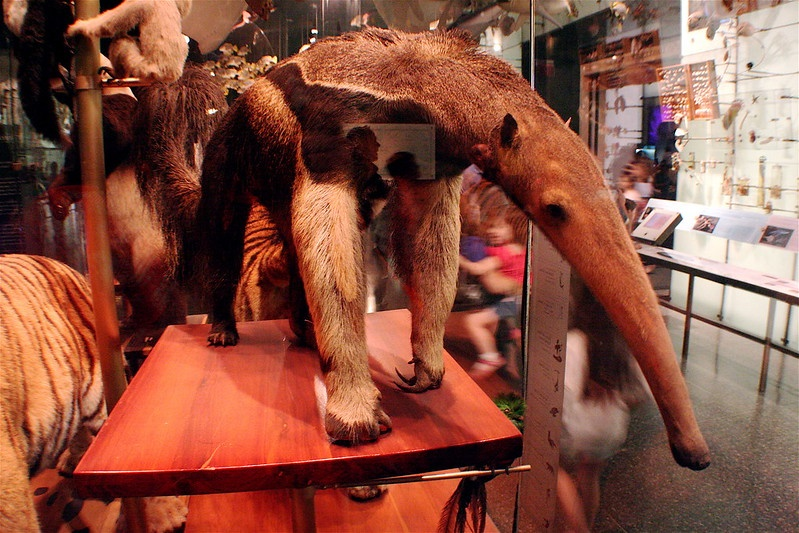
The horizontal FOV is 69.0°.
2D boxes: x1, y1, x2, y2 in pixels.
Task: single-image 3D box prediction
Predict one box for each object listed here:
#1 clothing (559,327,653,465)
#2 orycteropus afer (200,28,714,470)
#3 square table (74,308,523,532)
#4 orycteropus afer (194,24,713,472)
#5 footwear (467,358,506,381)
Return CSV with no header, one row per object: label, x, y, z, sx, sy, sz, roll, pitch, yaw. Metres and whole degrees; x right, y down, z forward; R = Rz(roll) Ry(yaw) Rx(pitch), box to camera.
clothing,0.476,0.293,1.281,0.137,0.280,0.195,7,7,-26
orycteropus afer,0.017,-0.067,1.171,1.168,0.734,0.416,17,21,33
square table,-0.231,0.296,1.138,0.579,0.370,0.592,-5,19,-15
orycteropus afer,0.006,-0.079,1.186,1.140,0.763,0.447,18,22,33
footwear,0.224,0.266,1.509,0.115,0.050,0.041,-2,5,-21
